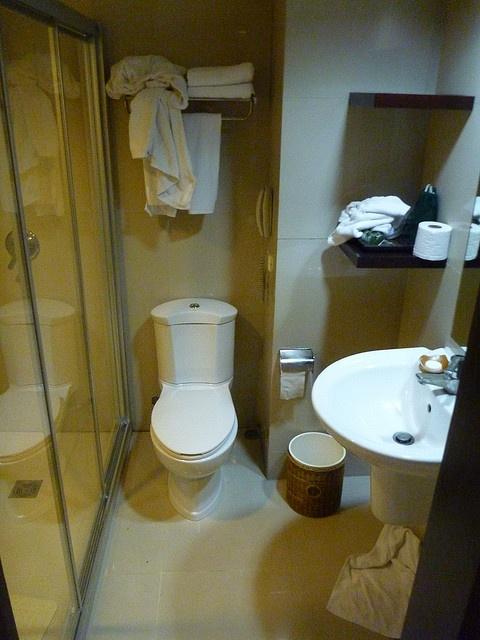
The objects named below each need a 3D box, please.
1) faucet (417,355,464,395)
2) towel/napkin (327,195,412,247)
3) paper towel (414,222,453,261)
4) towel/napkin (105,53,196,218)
[{"bbox_3d":[0.548,0.137,1.361,0.117,0.106,0.123,10,22,19],"label":"faucet"},{"bbox_3d":[0.446,-0.330,1.721,0.262,0.210,0.224,7,21,11],"label":"towel/napkin"},{"bbox_3d":[0.589,-0.241,1.516,0.090,0.126,0.108,13,34,13],"label":"paper towel"},{"bbox_3d":[-0.341,-0.718,1.939,0.327,0.596,0.205,10,20,22],"label":"towel/napkin"}]
